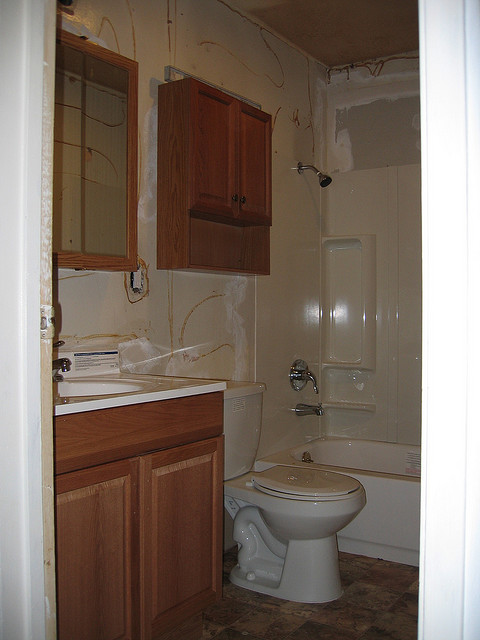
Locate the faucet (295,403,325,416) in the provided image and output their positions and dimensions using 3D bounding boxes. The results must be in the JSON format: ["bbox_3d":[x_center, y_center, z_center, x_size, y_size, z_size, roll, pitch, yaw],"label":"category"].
[{"bbox_3d":[0.409,0.528,3.254,0.161,0.076,0.222,0,-2,5],"label":"faucet"}]

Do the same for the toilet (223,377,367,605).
[{"bbox_3d":[0.202,0.698,2.312,0.596,0.868,0.393,-1,2,21],"label":"toilet"}]

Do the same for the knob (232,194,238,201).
[{"bbox_3d":[-0.017,-0.514,2.295,0.006,0.024,0.022,5,4,38],"label":"knob"}]

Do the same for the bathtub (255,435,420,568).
[{"bbox_3d":[0.520,0.900,2.705,0.711,0.495,0.818,-1,-2,21],"label":"bathtub"}]
